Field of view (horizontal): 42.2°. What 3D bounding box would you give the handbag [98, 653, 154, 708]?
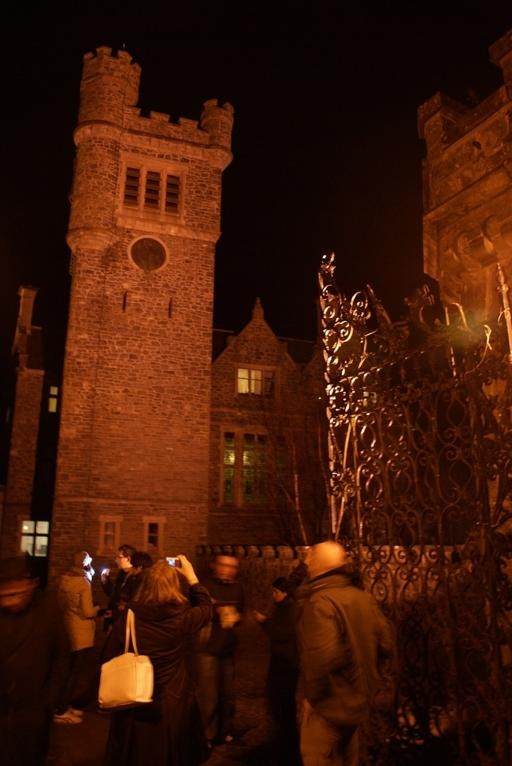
[{"bbox_3d":[-0.704,1.643,3.648,0.356,0.320,0.124,-14,-49,2],"label":"handbag"}]
